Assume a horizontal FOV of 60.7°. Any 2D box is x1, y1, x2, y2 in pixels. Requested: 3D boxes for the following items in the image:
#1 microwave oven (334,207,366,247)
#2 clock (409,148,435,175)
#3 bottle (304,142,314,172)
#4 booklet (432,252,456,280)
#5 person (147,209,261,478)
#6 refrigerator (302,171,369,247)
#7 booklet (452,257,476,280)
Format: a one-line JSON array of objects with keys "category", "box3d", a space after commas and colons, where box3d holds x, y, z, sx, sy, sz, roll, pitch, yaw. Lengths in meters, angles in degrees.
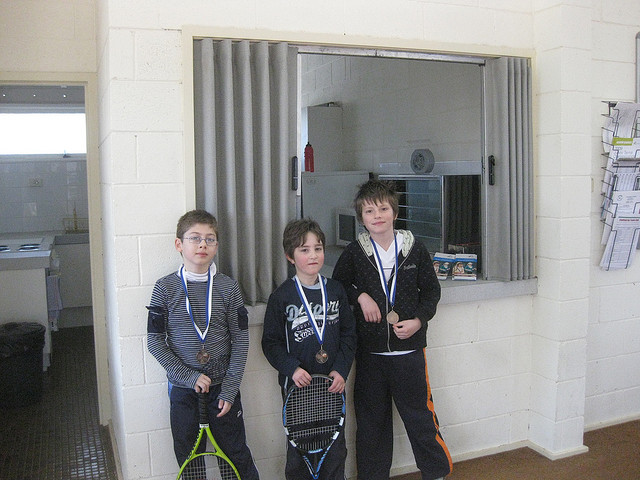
[{"category": "microwave oven", "box3d": [0.296, -0.103, 4.731, 0.167, 0.312, 0.291, -5, 8, -40]}, {"category": "clock", "box3d": [0.814, -0.626, 4.377, 0.119, 0.191, 0.273, -14, 13, -35]}, {"category": "bottle", "box3d": [-0.096, -0.828, 5.507, 0.134, 0.267, 0.094, -12, 12, -28]}, {"category": "booklet", "box3d": [0.770, 0.164, 3.370, 0.113, 0.152, 0.019, 16, 5, 31]}, {"category": "person", "box3d": [-0.561, 0.618, 2.664, 0.480, 1.492, 0.429, -8, 11, -10]}, {"category": "refrigerator", "box3d": [0.026, -0.242, 5.161, 0.588, 0.880, 0.501, -3, 16, -18]}, {"category": "booklet", "box3d": [0.897, 0.173, 3.364, 0.129, 0.157, 0.016, 1, 4, 6]}]
